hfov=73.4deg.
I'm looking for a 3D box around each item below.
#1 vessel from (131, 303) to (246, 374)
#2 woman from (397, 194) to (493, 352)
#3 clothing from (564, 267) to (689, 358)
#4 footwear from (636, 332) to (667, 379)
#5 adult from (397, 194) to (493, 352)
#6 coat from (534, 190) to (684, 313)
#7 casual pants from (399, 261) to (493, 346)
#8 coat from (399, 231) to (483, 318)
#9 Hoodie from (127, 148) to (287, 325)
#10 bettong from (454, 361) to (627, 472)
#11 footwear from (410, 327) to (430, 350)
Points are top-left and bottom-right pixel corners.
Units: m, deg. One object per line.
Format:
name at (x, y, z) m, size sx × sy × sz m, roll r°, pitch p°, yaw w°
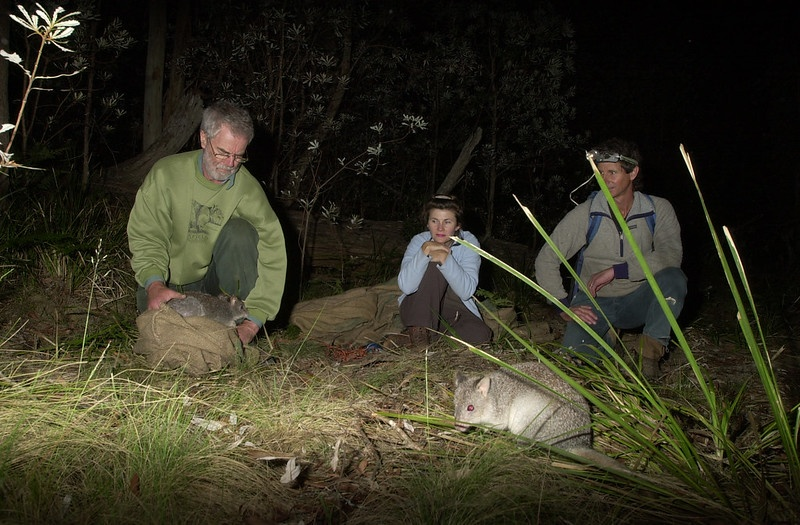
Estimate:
vessel at (-1.734, 0.648, 4.412) m, size 0.726 × 0.520 × 0.333 m, roll 12°, pitch -33°, yaw -17°
woman at (0.501, 0.085, 5.737) m, size 0.981 × 1.568 × 0.705 m, roll 8°, pitch 8°, yaw 1°
clothing at (2.374, 0.527, 5.522) m, size 1.152 × 0.584 × 1.303 m, roll -22°, pitch -2°, yaw 36°
footwear at (2.560, 0.939, 5.457) m, size 0.217 × 0.268 × 0.525 m, roll 13°, pitch 9°, yaw 28°
adult at (0.504, 0.086, 5.732) m, size 0.987 × 1.568 × 0.695 m, roll 8°, pitch 8°, yaw 1°
coat at (2.294, -0.267, 6.048) m, size 1.760 × 1.427 × 1.237 m, roll -1°, pitch 24°, yaw 15°
casual pants at (0.388, 0.550, 5.932) m, size 1.056 × 1.197 × 0.804 m, roll 0°, pitch -10°, yaw -20°
coat at (0.433, 0.204, 6.149) m, size 0.893 × 0.432 × 1.194 m, roll 4°, pitch -8°, yaw 8°
Hoodie at (-1.854, -0.388, 5.099) m, size 1.400 × 1.723 × 1.171 m, roll -3°, pitch -33°, yaw -39°
bettong at (0.879, 0.899, 4.036) m, size 1.380 × 0.606 × 0.466 m, roll 19°, pitch 29°, yaw 30°
footwear at (0.213, 0.773, 5.603) m, size 0.193 × 0.207 × 0.051 m, roll -8°, pitch -15°, yaw 4°
